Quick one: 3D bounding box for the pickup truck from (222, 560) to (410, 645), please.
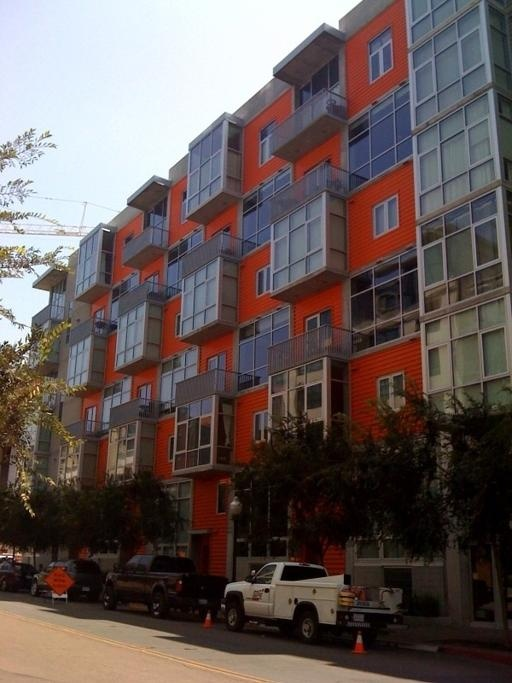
[{"bbox_3d":[1.003,5.655,14.598,1.874,1.400,4.096,20,-27,-30],"label":"pickup truck"}]

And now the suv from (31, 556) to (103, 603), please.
[{"bbox_3d":[-7.190,9.069,25.593,2.526,1.483,7.141,7,-20,-16],"label":"suv"}]

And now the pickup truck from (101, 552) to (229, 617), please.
[{"bbox_3d":[-2.675,7.117,19.926,1.866,1.378,4.020,21,-26,-31],"label":"pickup truck"}]
